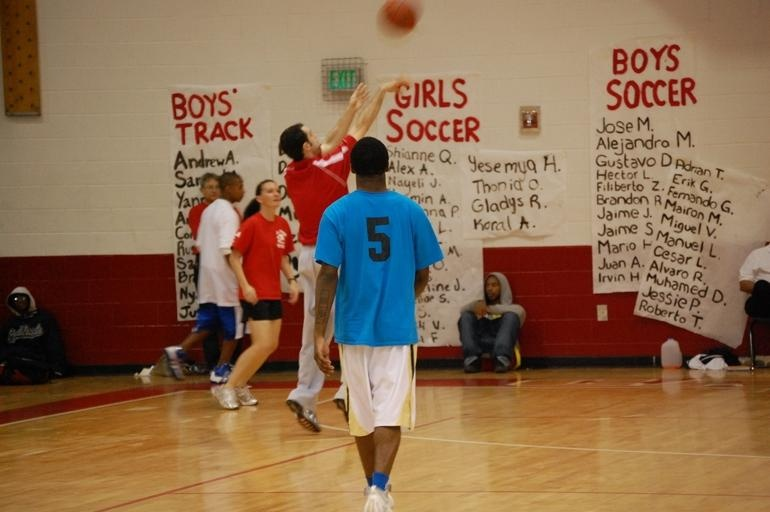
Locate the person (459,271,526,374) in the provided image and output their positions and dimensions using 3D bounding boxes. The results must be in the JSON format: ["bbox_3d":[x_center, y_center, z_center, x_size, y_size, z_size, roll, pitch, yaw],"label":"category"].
[{"bbox_3d":[1.496,0.942,10.702,0.919,1.338,0.727,1,7,9],"label":"person"}]

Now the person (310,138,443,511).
[{"bbox_3d":[-0.054,0.685,5.714,0.950,2.308,0.624,-1,7,-6],"label":"person"}]
